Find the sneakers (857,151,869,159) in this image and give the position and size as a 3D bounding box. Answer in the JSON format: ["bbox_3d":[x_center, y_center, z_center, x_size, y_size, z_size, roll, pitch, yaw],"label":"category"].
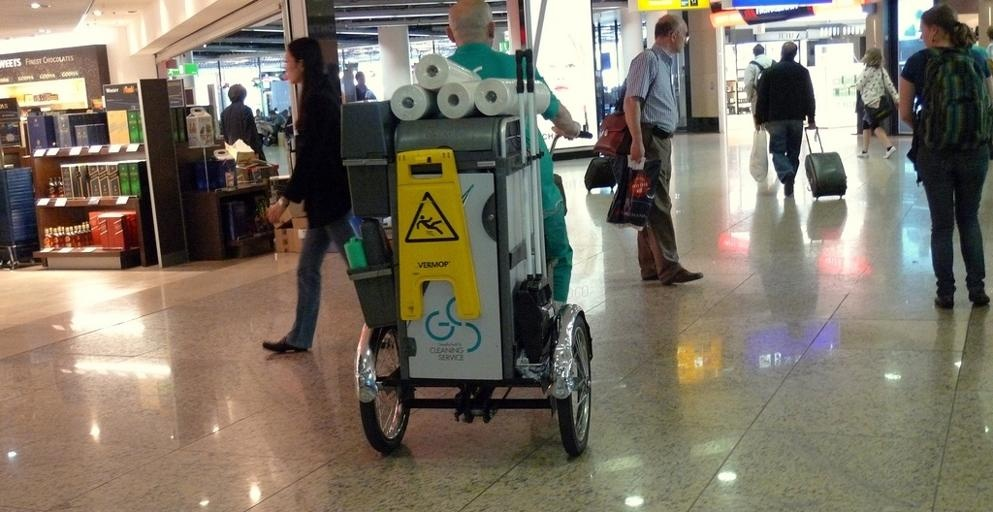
[{"bbox_3d":[7.653,-2.117,14.500,0.172,0.117,0.300,0,11,12],"label":"sneakers"}]

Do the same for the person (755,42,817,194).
[{"bbox_3d":[4.747,-2.288,11.356,0.875,2.407,0.965,-4,10,6],"label":"person"}]

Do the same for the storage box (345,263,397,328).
[{"bbox_3d":[-0.799,0.269,5.030,0.509,0.476,0.405,-4,0,4],"label":"storage box"}]

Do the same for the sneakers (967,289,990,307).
[{"bbox_3d":[4.458,0.387,6.393,0.131,0.090,0.228,0,10,23],"label":"sneakers"}]

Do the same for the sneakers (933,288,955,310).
[{"bbox_3d":[4.136,0.403,6.408,0.138,0.191,0.221,0,19,14],"label":"sneakers"}]

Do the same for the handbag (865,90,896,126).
[{"bbox_3d":[7.904,-3.018,14.381,0.492,0.678,0.801,0,10,25],"label":"handbag"}]

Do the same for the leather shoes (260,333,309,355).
[{"bbox_3d":[-2.005,0.828,6.582,0.495,0.157,0.163,5,-1,1],"label":"leather shoes"}]

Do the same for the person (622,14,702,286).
[{"bbox_3d":[1.740,-1.126,7.399,0.708,2.838,0.667,-3,10,13],"label":"person"}]

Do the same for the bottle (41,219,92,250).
[{"bbox_3d":[-6.757,-0.320,10.869,0.542,0.428,0.260,2,8,12],"label":"bottle"}]

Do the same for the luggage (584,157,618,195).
[{"bbox_3d":[1.943,-1.515,12.557,0.749,0.637,0.496,-2,3,10],"label":"luggage"}]
